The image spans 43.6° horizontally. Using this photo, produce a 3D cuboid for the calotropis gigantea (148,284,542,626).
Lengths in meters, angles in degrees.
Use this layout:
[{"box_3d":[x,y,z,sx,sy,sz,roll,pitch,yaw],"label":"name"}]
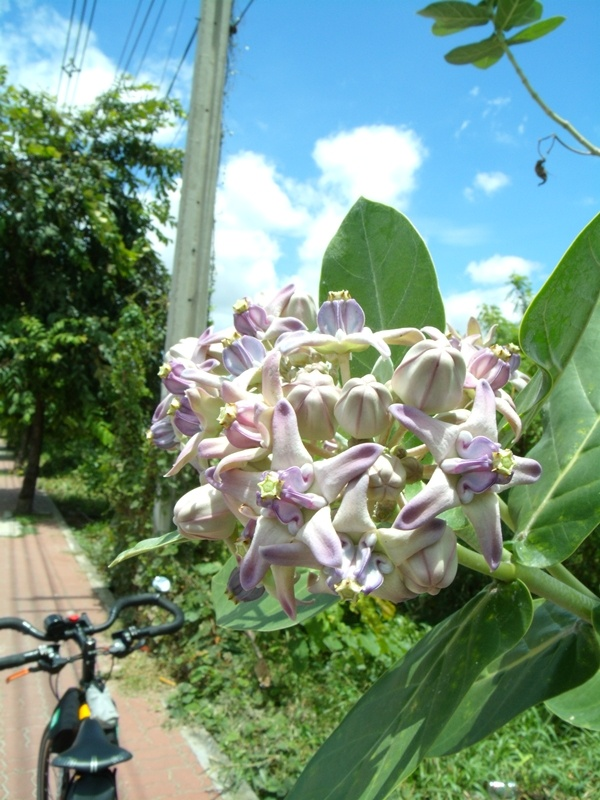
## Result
[{"box_3d":[0.058,0.080,1.234,0.669,0.536,0.319,-10,-33,3],"label":"calotropis gigantea"}]
